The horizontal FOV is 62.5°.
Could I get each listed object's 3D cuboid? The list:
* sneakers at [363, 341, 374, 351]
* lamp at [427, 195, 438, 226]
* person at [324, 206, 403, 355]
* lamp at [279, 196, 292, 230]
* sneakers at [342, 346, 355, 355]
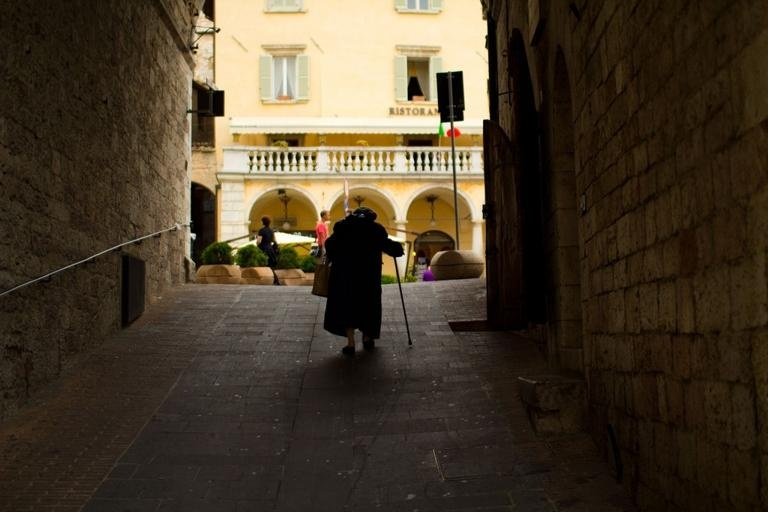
[{"bbox_3d":[-0.193,1.144,8.285,0.148,0.123,0.203,1,10,-2],"label":"sneakers"},{"bbox_3d":[1.860,-1.768,24.518,0.357,1.236,0.652,2,9,4],"label":"lamp"},{"bbox_3d":[-0.347,0.292,8.368,0.877,1.743,1.040,5,10,23],"label":"person"},{"bbox_3d":[-3.642,-1.666,23.752,0.424,1.365,0.876,0,9,-10],"label":"lamp"},{"bbox_3d":[-0.443,1.180,8.042,0.164,0.100,0.175,1,10,-6],"label":"sneakers"}]
